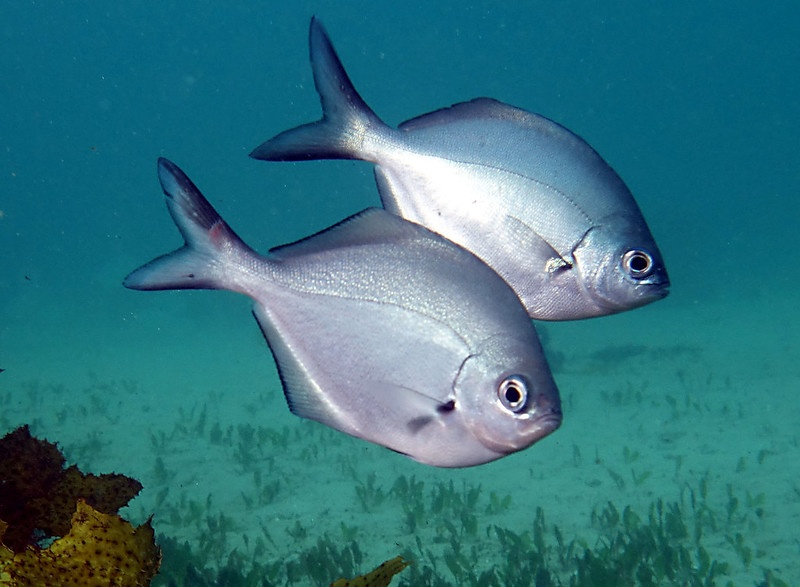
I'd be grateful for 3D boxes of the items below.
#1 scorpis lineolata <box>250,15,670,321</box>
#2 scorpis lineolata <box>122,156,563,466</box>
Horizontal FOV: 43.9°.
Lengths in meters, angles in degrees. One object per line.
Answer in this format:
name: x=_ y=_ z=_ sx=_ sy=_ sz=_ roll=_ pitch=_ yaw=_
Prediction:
scorpis lineolata: x=1.782 y=-2.298 z=25.210 sx=10.710 sy=5.902 sz=2.453 roll=20 pitch=-22 yaw=-16
scorpis lineolata: x=-1.232 y=0.755 z=25.058 sx=11.111 sy=6.109 sz=2.756 roll=18 pitch=23 yaw=1
